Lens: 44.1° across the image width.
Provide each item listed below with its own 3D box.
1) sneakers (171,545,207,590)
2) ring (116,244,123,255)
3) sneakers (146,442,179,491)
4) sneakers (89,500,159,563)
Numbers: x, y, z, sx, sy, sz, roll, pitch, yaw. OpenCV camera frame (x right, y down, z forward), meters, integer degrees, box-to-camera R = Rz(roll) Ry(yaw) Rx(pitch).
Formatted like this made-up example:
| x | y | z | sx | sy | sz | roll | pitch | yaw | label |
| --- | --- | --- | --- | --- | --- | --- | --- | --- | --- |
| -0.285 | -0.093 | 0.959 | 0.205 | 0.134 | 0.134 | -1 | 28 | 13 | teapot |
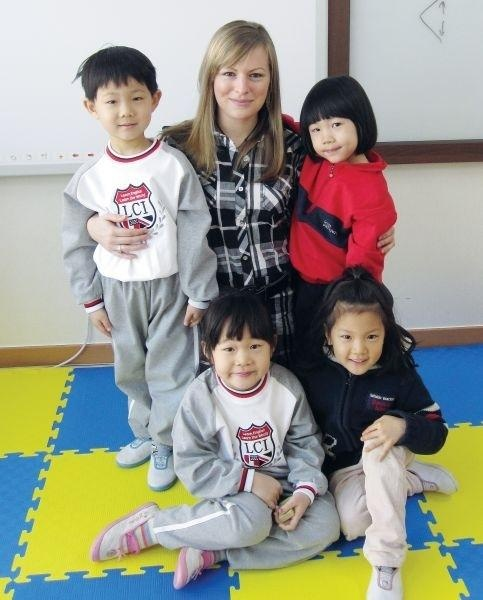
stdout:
| x | y | z | sx | sy | sz | roll | pitch | yaw | label |
| --- | --- | --- | --- | --- | --- | --- | --- | --- | --- |
| -0.110 | 0.595 | 1.326 | 0.048 | 0.106 | 0.038 | 2 | 40 | -34 | sneakers |
| -0.300 | -0.124 | 1.453 | 0.015 | 0.017 | 0.005 | 1 | 25 | 5 | ring |
| -0.223 | 0.452 | 1.698 | 0.092 | 0.072 | 0.224 | 7 | 21 | -2 | sneakers |
| -0.291 | 0.549 | 1.388 | 0.195 | 0.059 | 0.075 | -28 | 23 | -20 | sneakers |
